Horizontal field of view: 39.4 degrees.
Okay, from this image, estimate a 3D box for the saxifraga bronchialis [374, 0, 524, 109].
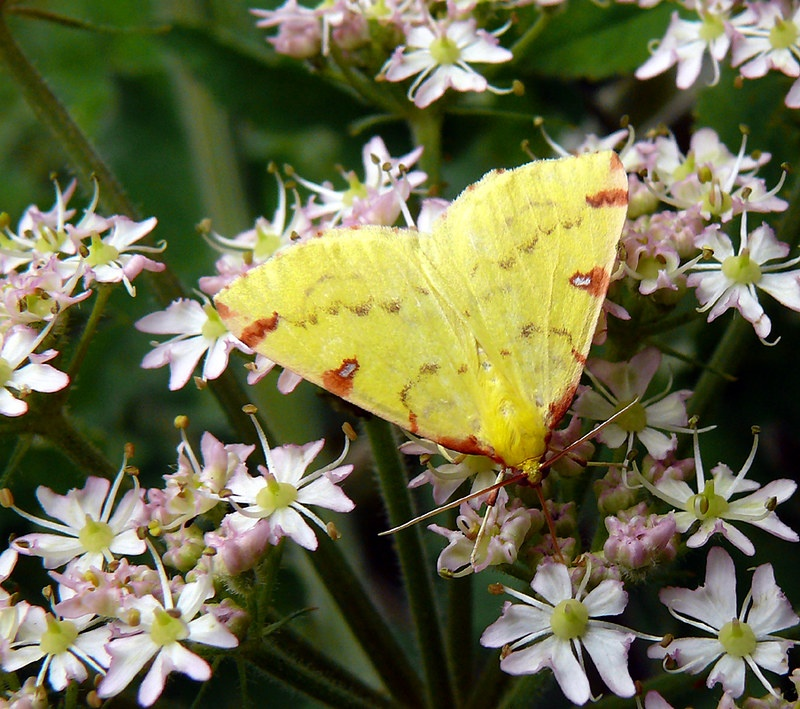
[{"bbox_3d":[0.071,-0.466,1.695,0.199,0.072,0.187,-8,7,-44],"label":"saxifraga bronchialis"}]
